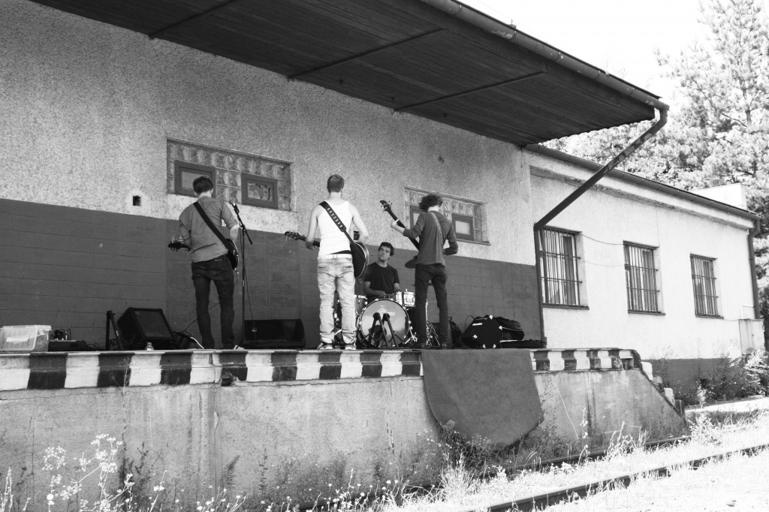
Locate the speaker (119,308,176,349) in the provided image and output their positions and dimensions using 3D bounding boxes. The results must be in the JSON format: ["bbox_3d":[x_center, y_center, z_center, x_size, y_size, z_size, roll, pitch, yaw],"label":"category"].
[{"bbox_3d":[-3.288,0.965,9.931,0.672,0.624,0.837,2,-9,-26],"label":"speaker"}]

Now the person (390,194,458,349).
[{"bbox_3d":[0.703,0.178,11.202,0.998,2.521,0.601,6,-13,-42],"label":"person"}]

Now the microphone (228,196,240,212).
[{"bbox_3d":[-2.424,-0.851,11.444,0.109,0.127,0.320,30,1,-1],"label":"microphone"}]

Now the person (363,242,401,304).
[{"bbox_3d":[-0.053,0.341,12.143,0.450,1.168,0.527,-3,-2,-1],"label":"person"}]

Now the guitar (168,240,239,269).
[{"bbox_3d":[-2.516,-0.086,9.979,0.805,0.149,0.462,8,-34,26],"label":"guitar"}]

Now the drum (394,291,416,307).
[{"bbox_3d":[0.340,0.675,11.501,0.232,0.189,0.248,0,0,0],"label":"drum"}]

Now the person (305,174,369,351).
[{"bbox_3d":[-0.673,0.076,10.150,0.823,2.465,0.406,-1,-10,-7],"label":"person"}]

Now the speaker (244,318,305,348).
[{"bbox_3d":[-1.763,1.216,11.376,0.964,0.540,0.703,-1,-11,-12],"label":"speaker"}]
